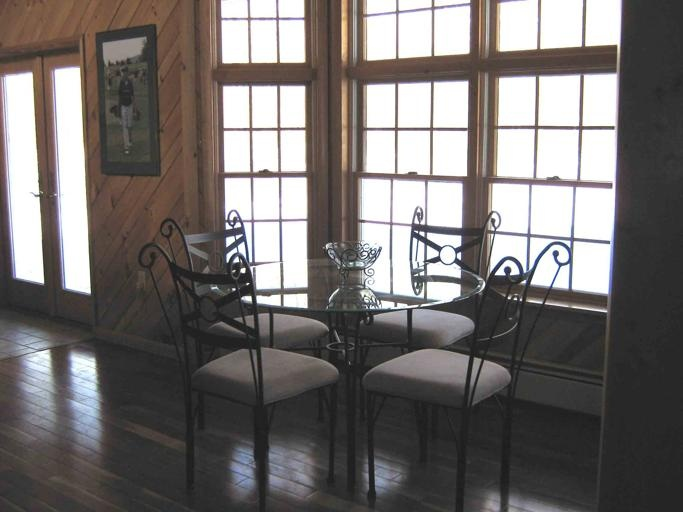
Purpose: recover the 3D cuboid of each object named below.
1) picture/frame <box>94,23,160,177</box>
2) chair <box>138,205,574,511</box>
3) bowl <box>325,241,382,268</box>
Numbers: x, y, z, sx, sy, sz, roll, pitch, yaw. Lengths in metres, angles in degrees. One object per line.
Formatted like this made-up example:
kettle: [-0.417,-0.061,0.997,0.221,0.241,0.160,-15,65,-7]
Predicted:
picture/frame: [-1.400,-1.060,4.323,0.832,1.226,0.050,11,15,42]
chair: [-0.052,0.363,3.093,1.488,1.031,2.008,-2,9,-5]
bowl: [0.059,-0.007,3.064,0.190,0.081,0.200,1,0,0]
